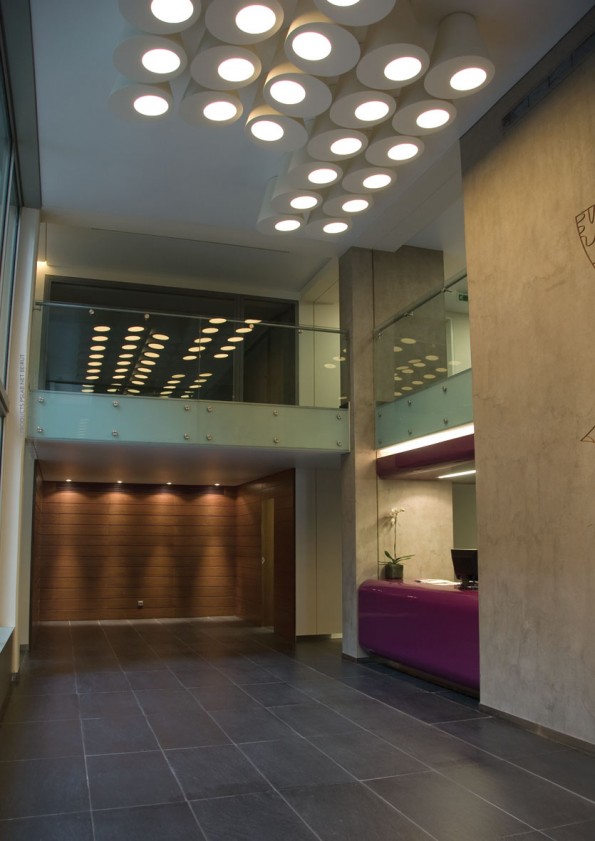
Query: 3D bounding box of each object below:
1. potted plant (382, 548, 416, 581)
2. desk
[{"bbox_3d":[1.166,1.710,7.443,0.288,0.246,0.295,4,-8,-20],"label":"potted plant"},{"bbox_3d":[1.028,2.147,6.363,1.743,0.701,0.569,25,-26,-28],"label":"desk"}]
